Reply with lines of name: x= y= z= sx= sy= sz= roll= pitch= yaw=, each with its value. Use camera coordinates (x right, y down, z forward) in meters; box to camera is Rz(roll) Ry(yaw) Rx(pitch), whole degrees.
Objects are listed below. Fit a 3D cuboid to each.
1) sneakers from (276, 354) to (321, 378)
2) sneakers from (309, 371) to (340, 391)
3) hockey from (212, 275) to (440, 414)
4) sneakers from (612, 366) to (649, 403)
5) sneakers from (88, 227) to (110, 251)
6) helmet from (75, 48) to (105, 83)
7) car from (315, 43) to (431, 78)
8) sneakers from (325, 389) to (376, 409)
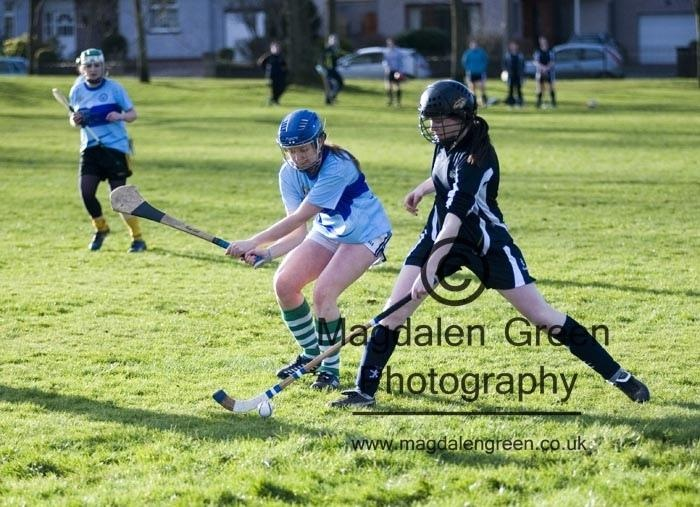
sneakers: x=-0.392 y=0.947 z=9.372 sx=0.384 sy=0.198 sz=0.129 roll=-18 pitch=11 yaw=-8
sneakers: x=-0.188 y=1.047 z=9.192 sx=0.103 sy=0.126 sz=0.297 roll=0 pitch=-6 yaw=20
hockey: x=-0.169 y=0.802 z=9.376 sx=1.472 sy=0.355 sz=0.321 roll=-29 pitch=53 yaw=-22
sneakers: x=2.177 y=1.038 z=8.861 sx=0.179 sy=0.354 sz=0.144 roll=-45 pitch=11 yaw=5
sneakers: x=-2.785 y=-0.122 z=12.733 sx=0.115 sy=0.351 sz=0.148 roll=20 pitch=-16 yaw=6
helmet: x=-2.688 y=-1.993 z=11.958 sx=0.307 sy=0.378 sz=0.379 roll=-3 pitch=53 yaw=-10
car: x=1.084 y=-6.180 z=37.307 sx=3.036 sy=1.085 sz=1.686 roll=3 pitch=15 yaw=3
sneakers: x=0.011 y=1.147 z=8.890 sx=0.388 sy=0.156 sz=0.131 roll=2 pitch=-2 yaw=-4
